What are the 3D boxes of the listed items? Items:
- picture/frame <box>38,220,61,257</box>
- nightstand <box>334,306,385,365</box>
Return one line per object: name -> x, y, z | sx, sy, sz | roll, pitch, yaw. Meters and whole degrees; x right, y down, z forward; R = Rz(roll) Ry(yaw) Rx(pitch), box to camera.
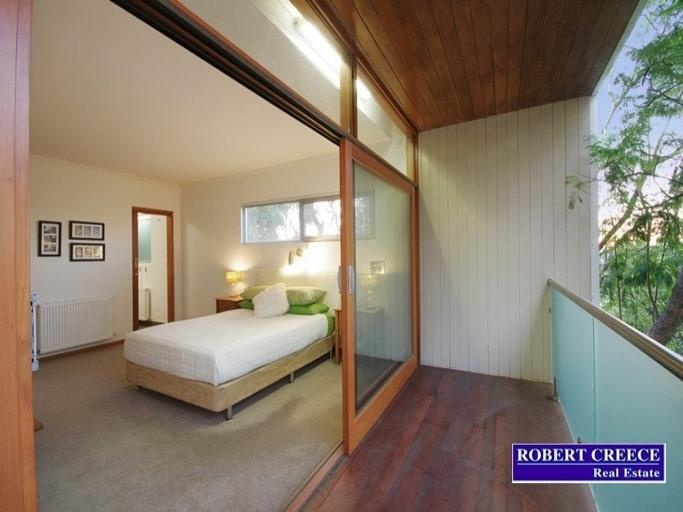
picture/frame -> -3.631, -0.216, 5.482 | 0.053, 0.461, 0.317 | 6, 16, 28
nightstand -> 0.131, 0.886, 4.884 | 0.403, 0.715, 0.549 | 0, 2, 15
